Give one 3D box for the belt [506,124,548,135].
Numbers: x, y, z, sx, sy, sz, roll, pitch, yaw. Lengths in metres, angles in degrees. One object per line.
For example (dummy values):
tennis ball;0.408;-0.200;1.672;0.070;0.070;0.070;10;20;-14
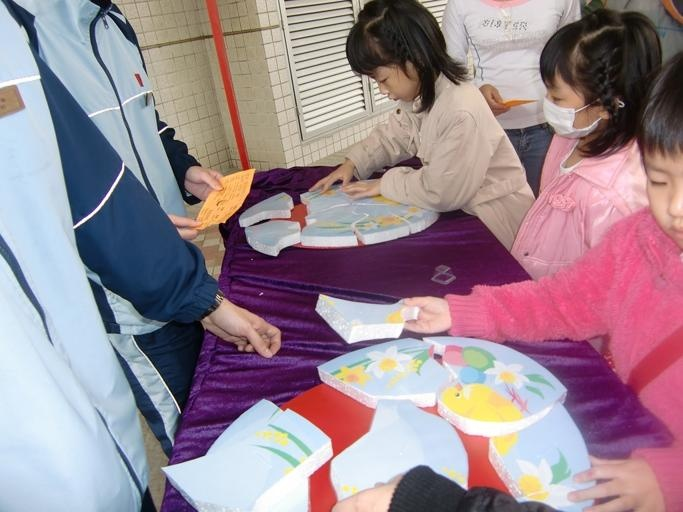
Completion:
belt;0.946;-0.644;2.352;0.106;0.027;0.107;-11;27;-3
